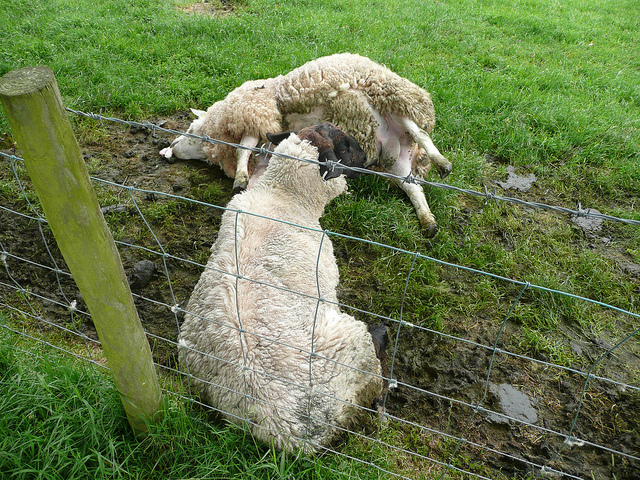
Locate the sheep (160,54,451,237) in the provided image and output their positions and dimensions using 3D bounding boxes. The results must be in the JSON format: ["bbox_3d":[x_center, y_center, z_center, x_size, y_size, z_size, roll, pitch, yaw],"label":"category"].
[{"bbox_3d":[0.162,-0.975,8.117,4.301,1.612,2.342,-2,47,16],"label":"sheep"}]
